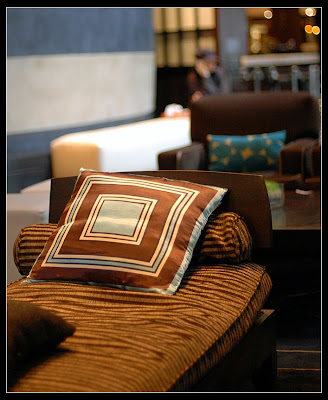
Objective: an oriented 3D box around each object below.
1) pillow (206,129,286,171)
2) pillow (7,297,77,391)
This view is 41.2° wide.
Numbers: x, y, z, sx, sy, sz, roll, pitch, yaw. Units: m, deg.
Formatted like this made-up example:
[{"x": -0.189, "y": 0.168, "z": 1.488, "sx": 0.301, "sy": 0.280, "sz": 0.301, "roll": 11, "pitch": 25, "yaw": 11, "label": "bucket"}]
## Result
[{"x": 0.562, "y": -0.329, "z": 2.921, "sx": 0.342, "sy": 0.205, "sz": 0.099, "roll": 0, "pitch": -3, "yaw": 15, "label": "pillow"}, {"x": -0.242, "y": 0.229, "z": 0.765, "sx": 0.078, "sy": 0.096, "sz": 0.195, "roll": 3, "pitch": 8, "yaw": 18, "label": "pillow"}]
